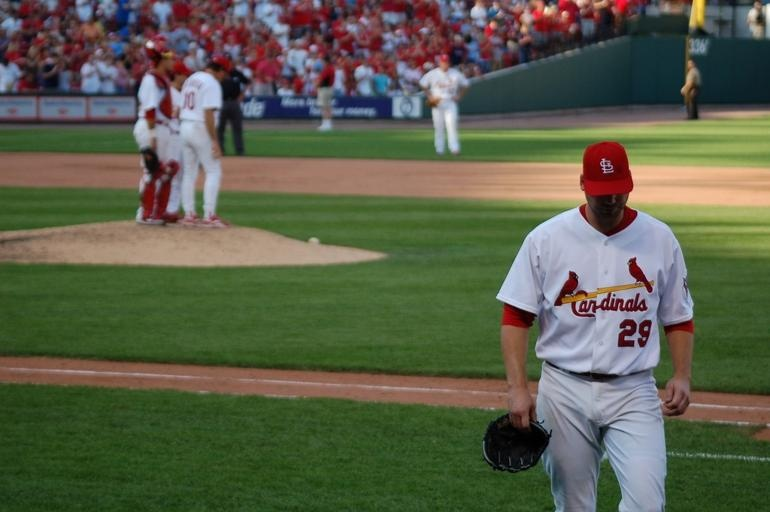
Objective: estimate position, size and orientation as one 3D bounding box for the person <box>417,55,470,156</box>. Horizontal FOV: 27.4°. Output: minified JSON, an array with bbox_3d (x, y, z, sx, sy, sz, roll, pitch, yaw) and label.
[{"bbox_3d":[1.157,-3.037,31.372,0.905,2.031,1.169,-1,10,1],"label":"person"}]

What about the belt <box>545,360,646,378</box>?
[{"bbox_3d":[2.665,1.443,20.068,1.285,0.222,0.108,0,11,4],"label":"belt"}]

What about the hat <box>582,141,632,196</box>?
[{"bbox_3d":[2.801,-1.147,20.083,0.623,0.660,0.297,0,11,6],"label":"hat"}]

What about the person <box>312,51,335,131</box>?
[{"bbox_3d":[-1.379,-3.885,37.246,0.427,1.589,1.011,-1,10,-2],"label":"person"}]

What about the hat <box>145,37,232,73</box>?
[{"bbox_3d":[-3.217,-3.300,25.346,1.276,0.592,0.367,-6,12,-29],"label":"hat"}]

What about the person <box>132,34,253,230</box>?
[{"bbox_3d":[-3.222,-2.002,25.440,1.399,3.026,0.797,-2,11,-6],"label":"person"}]
